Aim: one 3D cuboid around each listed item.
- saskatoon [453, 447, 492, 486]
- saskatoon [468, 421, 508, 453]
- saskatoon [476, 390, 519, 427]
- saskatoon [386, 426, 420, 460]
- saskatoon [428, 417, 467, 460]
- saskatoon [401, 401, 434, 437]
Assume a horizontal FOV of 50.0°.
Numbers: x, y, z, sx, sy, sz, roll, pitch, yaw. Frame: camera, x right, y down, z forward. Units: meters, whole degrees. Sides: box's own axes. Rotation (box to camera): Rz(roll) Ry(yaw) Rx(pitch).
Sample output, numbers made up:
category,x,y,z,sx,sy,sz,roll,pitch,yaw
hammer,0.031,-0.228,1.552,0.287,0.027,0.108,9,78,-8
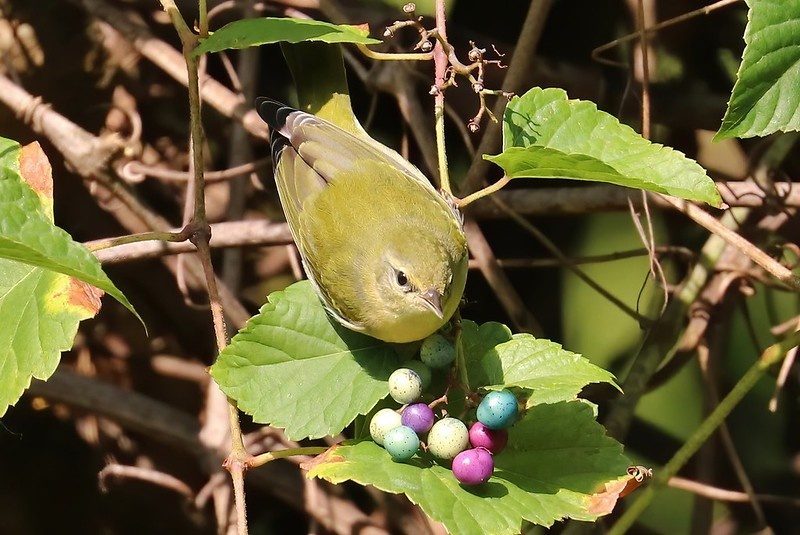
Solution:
category,x,y,z,sx,sy,sz,roll,pitch,yaw
saskatoon,0.262,0.723,3.115,0.132,0.110,0.124,2,-15,-12
saskatoon,0.327,0.636,3.202,0.121,0.149,0.118,-2,8,3
saskatoon,0.370,0.532,3.195,0.157,0.161,0.155,-6,-1,-13
saskatoon,0.003,0.644,3.218,0.107,0.136,0.118,5,10,16
saskatoon,0.180,0.623,3.185,0.136,0.168,0.141,4,-4,10
saskatoon,0.067,0.557,3.187,0.108,0.134,0.112,4,10,6
